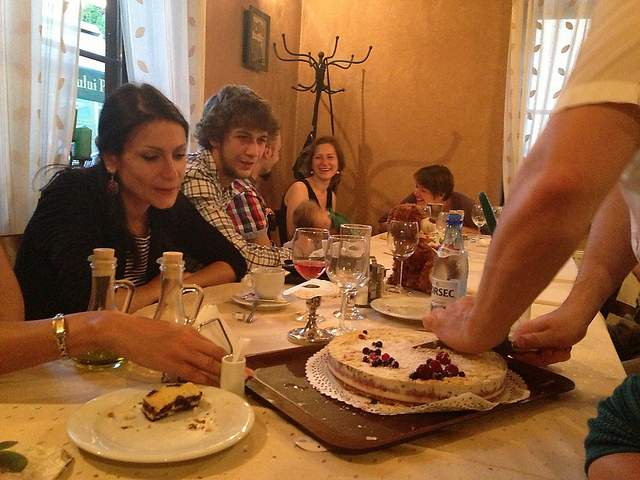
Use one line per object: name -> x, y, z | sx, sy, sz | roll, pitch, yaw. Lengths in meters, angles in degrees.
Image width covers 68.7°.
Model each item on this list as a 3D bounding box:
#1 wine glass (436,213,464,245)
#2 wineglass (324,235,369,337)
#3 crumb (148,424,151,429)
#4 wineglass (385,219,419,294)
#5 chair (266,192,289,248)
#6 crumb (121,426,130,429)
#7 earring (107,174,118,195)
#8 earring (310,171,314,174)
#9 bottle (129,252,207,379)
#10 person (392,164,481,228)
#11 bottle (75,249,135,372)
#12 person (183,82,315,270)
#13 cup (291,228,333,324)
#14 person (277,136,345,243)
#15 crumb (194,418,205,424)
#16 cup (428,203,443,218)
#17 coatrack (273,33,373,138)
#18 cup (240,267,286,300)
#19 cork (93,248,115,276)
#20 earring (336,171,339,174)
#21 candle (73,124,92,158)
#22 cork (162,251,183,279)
wine glass -> 0.500, -0.037, 1.817 | 0.074, 0.186, 0.075 | -11, 34, -14
wineglass -> 0.076, 0.140, 1.422 | 0.121, 0.302, 0.119 | -1, 13, -17
crumb -> -0.321, 0.349, 0.879 | 0.005, 0.006, 0.003 | 1, 1, 23
wineglass -> 0.326, 0.065, 1.846 | 0.128, 0.325, 0.198 | 9, 18, 17
chair -> -0.412, -0.268, 4.335 | 0.241, 0.422, 0.247 | -4, -7, 0
crumb -> -0.362, 0.346, 0.869 | 0.006, 0.002, 0.006 | 6, 1, 8
earring -> -0.814, -0.209, 1.827 | 0.038, 0.057, 0.061 | -8, 21, -32
earring -> -0.084, -0.664, 4.652 | 0.012, 0.032, 0.063 | -3, 19, -18
bottle -> -0.373, 0.208, 1.155 | 0.163, 0.352, 0.178 | -2, -3, 0
person -> 1.062, -0.402, 4.037 | 0.435, 0.532, 0.741 | -6, 10, -29
bottle -> -0.530, 0.158, 1.130 | 0.143, 0.280, 0.142 | 7, -3, 0
person -> -0.472, -0.324, 2.712 | 0.924, 0.961, 0.638 | 9, 3, 22
cup -> -0.031, 0.134, 1.718 | 0.143, 0.350, 0.140 | 2, 14, -1
person -> -0.020, -0.476, 4.625 | 0.615, 1.086, 0.640 | 1, 2, -12
crumb -> -0.231, 0.346, 0.897 | 0.011, 0.003, 0.008 | 9, 11, -6
cup -> 0.834, -0.213, 3.366 | 0.108, 0.103, 0.126 | 0, 0, -19
coatrack -> -0.047, -1.537, 5.328 | 0.949, 1.423, 1.082 | 3, 13, -21
cup -> -0.199, 0.162, 1.654 | 0.151, 0.105, 0.120 | -1, 6, -22
cork -> -0.496, 0.051, 1.072 | 0.056, 0.067, 0.058 | 3, 2, 1
earring -> 0.178, -0.668, 4.711 | 0.021, 0.035, 0.020 | 0, 0, 23
candle -> -1.480, -0.633, 2.919 | 0.117, 0.212, 0.122 | -5, 46, -37
cork -> -0.370, 0.057, 1.174 | 0.056, 0.067, 0.057 | 11, 16, 30
